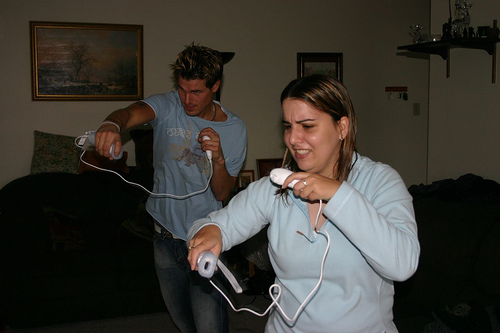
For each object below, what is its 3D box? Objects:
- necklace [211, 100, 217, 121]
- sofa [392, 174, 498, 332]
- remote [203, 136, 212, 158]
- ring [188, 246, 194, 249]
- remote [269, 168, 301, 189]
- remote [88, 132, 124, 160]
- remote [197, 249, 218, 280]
[{"bbox_3d":[-0.240,-0.363,2.624,0.016,0.135,0.016,3,10,3],"label":"necklace"},{"bbox_3d":[1.240,0.524,2.415,0.866,0.930,0.273,3,0,35],"label":"sofa"},{"bbox_3d":[-0.261,-0.123,2.432,0.038,0.153,0.028,-2,2,18],"label":"remote"},{"bbox_3d":[-0.273,0.377,1.851,0.024,0.007,0.014,6,0,-25],"label":"ring"},{"bbox_3d":[0.163,0.061,1.857,0.137,0.072,0.046,7,-16,46],"label":"remote"},{"bbox_3d":[-0.764,-0.135,2.240,0.160,0.180,0.065,3,7,19],"label":"remote"},{"bbox_3d":[-0.184,0.434,1.806,0.085,0.105,0.132,2,7,22],"label":"remote"}]
